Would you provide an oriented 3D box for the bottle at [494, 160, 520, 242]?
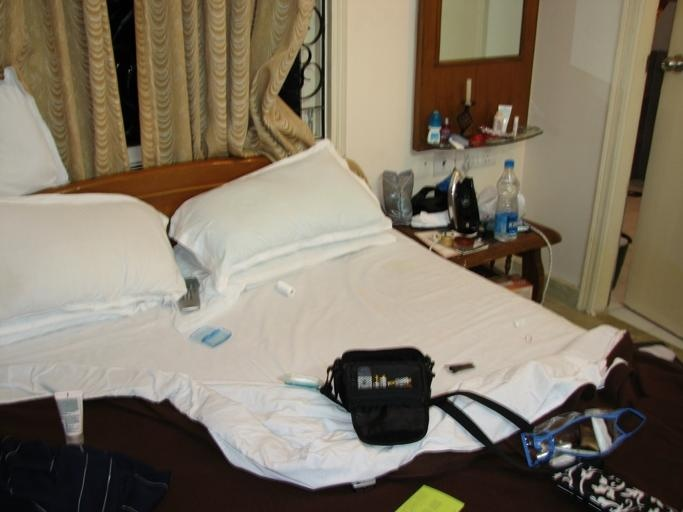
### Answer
[{"bbox_3d":[0.830,-0.256,2.862,0.142,0.461,0.123,-8,16,-26],"label":"bottle"}]

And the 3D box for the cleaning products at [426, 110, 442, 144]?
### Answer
[{"bbox_3d":[0.493,-0.685,3.004,0.094,0.176,0.102,6,15,16],"label":"cleaning products"}]

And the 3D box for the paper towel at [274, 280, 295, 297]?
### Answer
[{"bbox_3d":[-0.227,0.129,2.217,0.043,0.029,0.071,-23,35,-33],"label":"paper towel"}]

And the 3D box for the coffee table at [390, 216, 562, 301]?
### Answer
[{"bbox_3d":[0.722,-0.022,3.042,0.642,0.647,0.530,-8,19,-23],"label":"coffee table"}]

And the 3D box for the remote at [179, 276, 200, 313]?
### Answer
[{"bbox_3d":[-0.589,0.137,2.151,0.076,0.166,0.022,-4,45,-16],"label":"remote"}]

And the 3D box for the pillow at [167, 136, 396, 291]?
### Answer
[{"bbox_3d":[-0.246,-0.190,2.411,0.744,0.199,0.584,-19,58,-27],"label":"pillow"}]

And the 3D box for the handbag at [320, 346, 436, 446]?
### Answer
[{"bbox_3d":[0.105,0.378,1.624,0.282,0.304,0.222,-15,24,-34],"label":"handbag"}]

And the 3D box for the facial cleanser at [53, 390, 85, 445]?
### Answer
[{"bbox_3d":[-0.773,0.460,1.589,0.054,0.101,0.103,-4,15,-14],"label":"facial cleanser"}]
